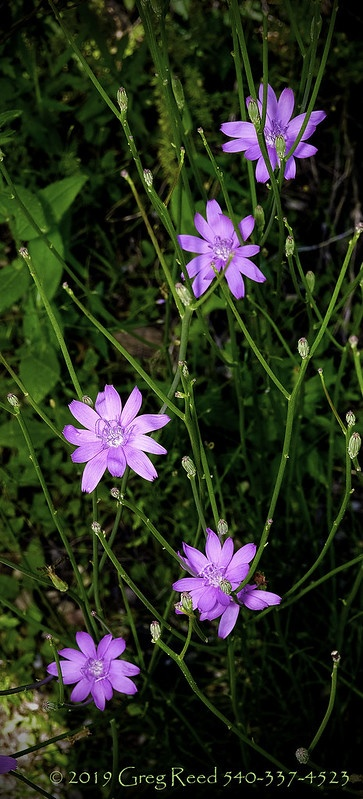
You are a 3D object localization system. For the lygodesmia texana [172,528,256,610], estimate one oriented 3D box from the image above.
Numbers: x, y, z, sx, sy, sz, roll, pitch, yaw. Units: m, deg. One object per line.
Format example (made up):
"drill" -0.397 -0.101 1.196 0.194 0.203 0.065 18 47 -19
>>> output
"lygodesmia texana" 0.035 0.161 0.595 0.081 0.092 0.036 1 93 -23

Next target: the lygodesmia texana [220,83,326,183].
"lygodesmia texana" 0.110 -0.307 0.679 0.122 0.138 0.040 -11 87 12

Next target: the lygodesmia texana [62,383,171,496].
"lygodesmia texana" -0.056 0.032 0.569 0.077 0.090 0.026 36 39 9

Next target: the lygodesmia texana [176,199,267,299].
"lygodesmia texana" 0.039 -0.145 0.632 0.092 0.045 0.114 21 83 15
